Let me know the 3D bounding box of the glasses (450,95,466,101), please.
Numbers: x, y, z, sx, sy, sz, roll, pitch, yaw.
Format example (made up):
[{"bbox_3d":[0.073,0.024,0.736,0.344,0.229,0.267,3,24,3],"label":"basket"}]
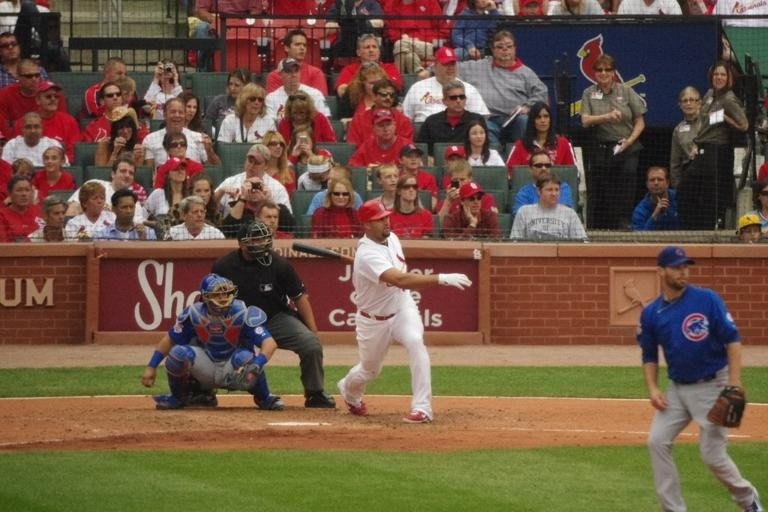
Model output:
[{"bbox_3d":[1.331,-2.959,35.026,0.276,0.107,0.143,-2,2,-16],"label":"glasses"}]

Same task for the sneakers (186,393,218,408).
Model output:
[{"bbox_3d":[-2.868,2.292,30.231,0.537,0.219,0.183,4,4,-8],"label":"sneakers"}]

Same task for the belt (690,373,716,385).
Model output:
[{"bbox_3d":[4.493,1.720,26.804,0.296,0.145,0.028,-1,2,1],"label":"belt"}]

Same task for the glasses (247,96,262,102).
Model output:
[{"bbox_3d":[-2.356,-2.939,35.032,0.272,0.098,0.091,-2,2,-35],"label":"glasses"}]

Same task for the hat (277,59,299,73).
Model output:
[{"bbox_3d":[-1.771,-3.628,35.592,0.346,0.244,0.392,-1,2,-6],"label":"hat"}]

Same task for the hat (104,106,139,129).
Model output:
[{"bbox_3d":[-4.838,-2.618,35.250,0.568,0.412,0.530,-1,2,-4],"label":"hat"}]

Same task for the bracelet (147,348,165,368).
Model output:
[{"bbox_3d":[-3.534,1.605,29.651,0.246,0.288,0.325,-1,2,-7],"label":"bracelet"}]

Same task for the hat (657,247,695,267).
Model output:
[{"bbox_3d":[4.029,0.039,27.088,0.296,0.251,0.424,-2,-11,-35],"label":"hat"}]

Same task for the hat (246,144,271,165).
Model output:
[{"bbox_3d":[-2.192,-1.836,33.687,0.419,0.310,0.161,-3,2,-41],"label":"hat"}]

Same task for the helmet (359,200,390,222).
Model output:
[{"bbox_3d":[-0.166,-0.699,29.501,0.415,0.214,0.311,-20,-1,34],"label":"helmet"}]

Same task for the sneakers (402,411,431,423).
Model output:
[{"bbox_3d":[0.495,2.481,29.253,0.388,0.157,0.178,6,-5,-13],"label":"sneakers"}]

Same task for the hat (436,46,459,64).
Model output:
[{"bbox_3d":[1.134,-3.821,35.766,0.366,0.337,0.311,-1,2,0],"label":"hat"}]

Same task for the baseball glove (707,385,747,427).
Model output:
[{"bbox_3d":[4.840,2.022,26.792,0.409,0.750,0.533,-4,32,6],"label":"baseball glove"}]

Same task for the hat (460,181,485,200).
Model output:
[{"bbox_3d":[1.499,-1.191,33.763,0.388,0.295,0.273,-1,2,3],"label":"hat"}]

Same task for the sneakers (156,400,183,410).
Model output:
[{"bbox_3d":[-3.383,2.361,30.054,0.418,0.178,0.139,8,0,-6],"label":"sneakers"}]

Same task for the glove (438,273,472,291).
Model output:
[{"bbox_3d":[1.034,0.375,29.128,0.452,0.280,0.162,14,-43,-26],"label":"glove"}]

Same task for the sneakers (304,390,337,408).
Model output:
[{"bbox_3d":[-1.016,2.283,30.250,0.449,0.284,0.234,-1,4,2],"label":"sneakers"}]

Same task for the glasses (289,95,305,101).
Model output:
[{"bbox_3d":[-1.598,-2.934,34.772,0.315,0.128,0.091,-1,2,-4],"label":"glasses"}]

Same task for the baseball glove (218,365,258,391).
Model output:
[{"bbox_3d":[-2.231,1.901,29.662,0.507,0.237,0.333,0,-3,37],"label":"baseball glove"}]

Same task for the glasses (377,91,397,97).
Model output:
[{"bbox_3d":[0.058,-3.007,34.871,0.346,0.098,0.142,-2,2,-35],"label":"glasses"}]

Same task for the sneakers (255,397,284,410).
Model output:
[{"bbox_3d":[-1.799,2.333,30.059,0.399,0.163,0.209,-4,-2,26],"label":"sneakers"}]

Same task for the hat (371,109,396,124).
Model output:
[{"bbox_3d":[-0.028,-2.582,34.654,0.357,0.275,0.470,-1,2,0],"label":"hat"}]

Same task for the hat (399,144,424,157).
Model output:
[{"bbox_3d":[0.462,-1.929,34.178,0.389,0.250,0.457,-1,2,1],"label":"hat"}]

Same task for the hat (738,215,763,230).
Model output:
[{"bbox_3d":[6.544,-0.645,34.359,0.412,0.282,0.207,-1,2,10],"label":"hat"}]
